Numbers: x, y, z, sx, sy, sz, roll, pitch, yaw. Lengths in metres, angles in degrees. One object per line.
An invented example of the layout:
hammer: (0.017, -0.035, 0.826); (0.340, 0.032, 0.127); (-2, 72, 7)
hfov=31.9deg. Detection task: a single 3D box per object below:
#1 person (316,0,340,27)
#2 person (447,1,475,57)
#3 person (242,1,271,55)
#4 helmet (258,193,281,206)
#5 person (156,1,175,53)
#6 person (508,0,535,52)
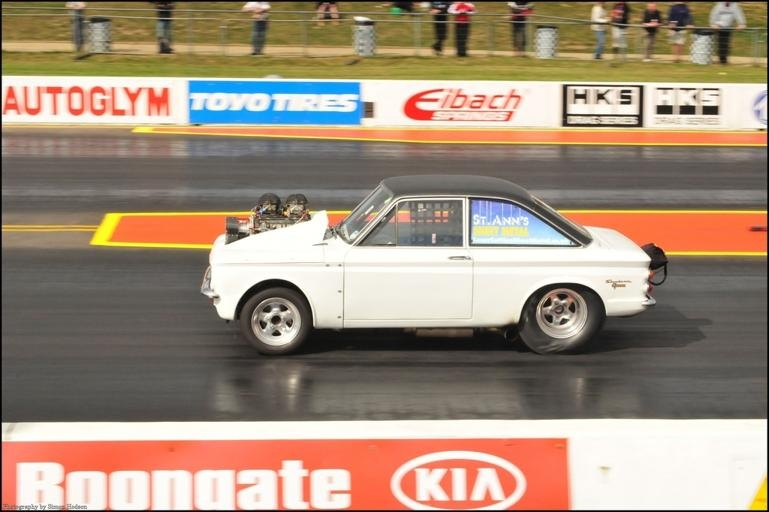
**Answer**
person: (-1.773, -7.460, 41.640); (0.727, 0.647, 1.907); (-2, 18, -2)
person: (2.269, -6.782, 40.413); (0.692, 1.596, 1.013); (0, 21, 3)
person: (-3.794, -6.765, 40.347); (0.747, 1.516, 1.194); (-3, 20, -4)
helmet: (-1.988, -0.967, 23.380); (0.387, 0.123, 0.363); (1, -1, -21)
person: (-6.650, -6.916, 40.858); (0.553, 1.552, 0.796); (-5, 21, -8)
person: (4.073, -6.877, 40.776); (0.649, 1.688, 1.272); (1, 20, 6)
